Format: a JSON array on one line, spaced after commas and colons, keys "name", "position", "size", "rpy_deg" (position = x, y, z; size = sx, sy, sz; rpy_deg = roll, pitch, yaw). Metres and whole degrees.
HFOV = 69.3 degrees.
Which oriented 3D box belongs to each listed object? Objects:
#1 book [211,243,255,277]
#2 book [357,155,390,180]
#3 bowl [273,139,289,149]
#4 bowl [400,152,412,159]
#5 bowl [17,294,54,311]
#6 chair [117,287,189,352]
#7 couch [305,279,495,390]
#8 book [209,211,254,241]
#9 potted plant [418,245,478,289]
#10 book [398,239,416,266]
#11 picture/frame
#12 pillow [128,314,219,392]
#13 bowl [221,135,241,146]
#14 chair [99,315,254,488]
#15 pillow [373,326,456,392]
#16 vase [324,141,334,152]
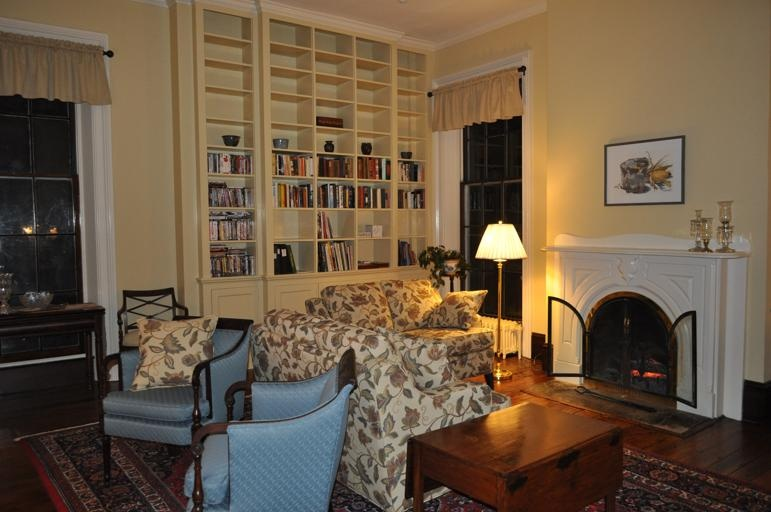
[{"name": "book", "position": [-1.919, 0.062, 7.061], "size": [0.475, 0.162, 0.354], "rpy_deg": [-3, 10, -27]}, {"name": "book", "position": [-0.146, -1.239, 7.895], "size": [0.392, 0.317, 0.406], "rpy_deg": [-2, 9, -36]}, {"name": "bowl", "position": [-1.340, -1.445, 7.218], "size": [0.144, 0.091, 0.147], "rpy_deg": [-1, -4, 0]}, {"name": "bowl", "position": [0.301, -1.452, 8.195], "size": [0.113, 0.149, 0.116], "rpy_deg": [-1, 6, 0]}, {"name": "bowl", "position": [-3.800, 0.499, 6.117], "size": [0.275, 0.170, 0.259], "rpy_deg": [-2, 2, 0]}, {"name": "chair", "position": [-2.681, 0.879, 6.471], "size": [0.786, 1.074, 0.689], "rpy_deg": [-1, -8, -32]}, {"name": "couch", "position": [0.222, 0.970, 6.312], "size": [1.935, 1.215, 1.245], "rpy_deg": [-6, 7, -18]}, {"name": "book", "position": [-1.914, -0.360, 7.049], "size": [0.549, 0.373, 0.213], "rpy_deg": [-3, 2, -18]}, {"name": "potted plant", "position": [0.844, 0.087, 7.686], "size": [0.618, 0.473, 0.614], "rpy_deg": [-5, 13, -30]}, {"name": "book", "position": [0.322, -0.033, 8.259], "size": [0.201, 0.364, 0.358], "rpy_deg": [-3, 5, -25]}, {"name": "picture/frame", "position": [2.810, -0.906, 5.989], "size": [0.783, 0.680, 0.031], "rpy_deg": [3, 5, 40]}, {"name": "pillow", "position": [-1.851, 0.893, 4.967], "size": [0.564, 0.502, 0.261], "rpy_deg": [-4, 5, -6]}, {"name": "bowl", "position": [-1.913, -1.431, 6.970], "size": [0.160, 0.111, 0.163], "rpy_deg": [-1, 2, 0]}, {"name": "chair", "position": [-1.869, 1.251, 5.076], "size": [1.384, 1.307, 1.395], "rpy_deg": [3, -2, -21]}, {"name": "pillow", "position": [0.219, 0.760, 4.363], "size": [0.447, 0.420, 0.450], "rpy_deg": [-7, 11, -35]}, {"name": "vase", "position": [-0.746, -1.470, 7.645], "size": [0.151, 0.180, 0.152], "rpy_deg": [0, -3, -5]}]
